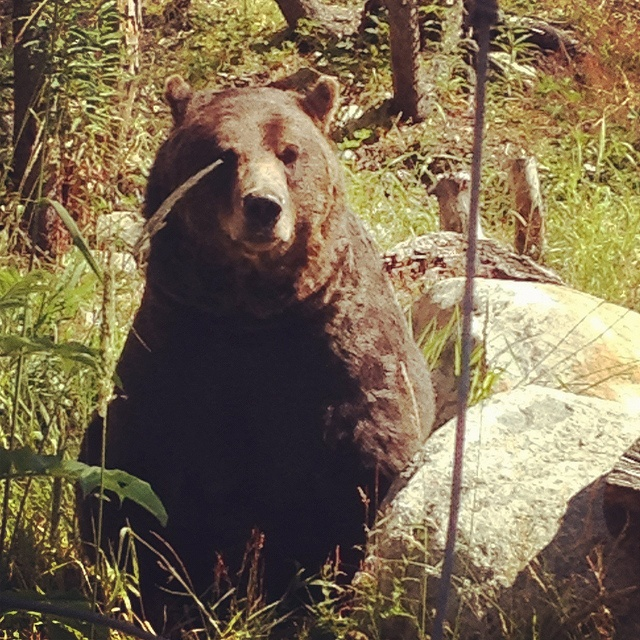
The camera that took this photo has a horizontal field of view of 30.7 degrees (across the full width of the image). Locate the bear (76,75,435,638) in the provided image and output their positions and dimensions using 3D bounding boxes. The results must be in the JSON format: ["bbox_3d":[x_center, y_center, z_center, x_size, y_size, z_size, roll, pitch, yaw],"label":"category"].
[{"bbox_3d":[-0.161,0.199,4.418,1.131,1.838,2.159,4,1,8],"label":"bear"}]
